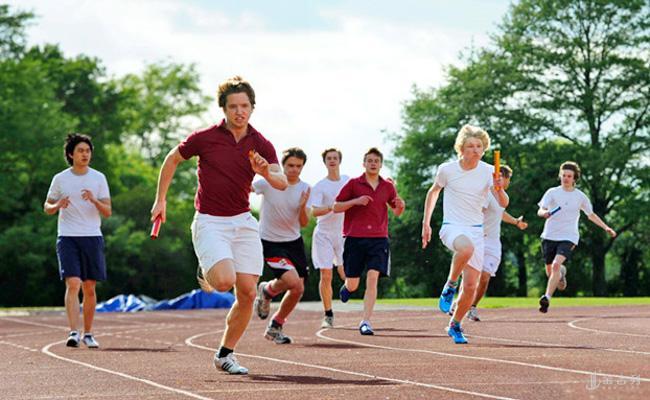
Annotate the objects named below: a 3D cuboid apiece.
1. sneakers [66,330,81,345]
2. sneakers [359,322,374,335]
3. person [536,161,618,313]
[{"bbox_3d":[-5.788,3.200,21.351,0.216,0.230,0.530,10,-32,-11],"label":"sneakers"},{"bbox_3d":[0.947,3.037,22.249,0.273,0.220,0.631,0,-9,-5],"label":"sneakers"},{"bbox_3d":[6.201,0.952,24.679,1.541,3.986,1.014,4,-4,-11],"label":"person"}]
